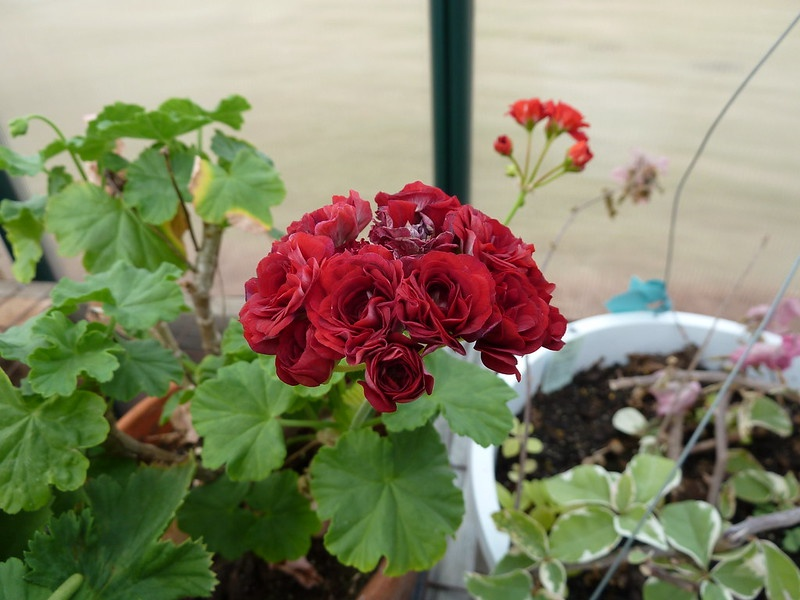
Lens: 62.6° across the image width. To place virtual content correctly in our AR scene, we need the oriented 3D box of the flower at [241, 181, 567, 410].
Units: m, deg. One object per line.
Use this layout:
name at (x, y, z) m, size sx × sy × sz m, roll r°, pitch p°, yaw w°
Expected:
flower at (-0.004, -0.011, 1.182) m, size 0.446 × 0.283 × 0.458 m, roll -5°, pitch 25°, yaw 1°
